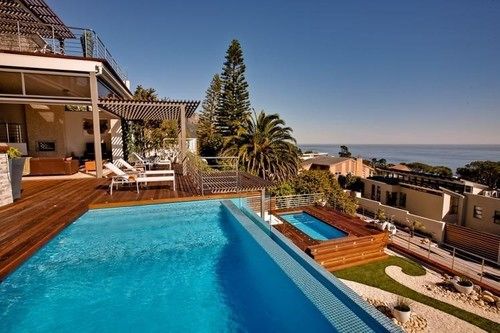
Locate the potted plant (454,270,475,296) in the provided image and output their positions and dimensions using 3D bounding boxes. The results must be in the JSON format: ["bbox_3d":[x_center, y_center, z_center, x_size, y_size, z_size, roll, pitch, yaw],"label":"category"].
[{"bbox_3d":[10.814,6.082,13.694,0.763,0.673,0.849,-2,-4,6],"label":"potted plant"}]

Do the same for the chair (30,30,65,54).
[{"bbox_3d":[-11.638,-7.211,15.261,0.784,0.871,1.441,39,40,24],"label":"chair"}]

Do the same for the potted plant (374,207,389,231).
[{"bbox_3d":[8.451,3.364,17.205,0.757,1.225,0.707,-2,2,15],"label":"potted plant"}]

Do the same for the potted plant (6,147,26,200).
[{"bbox_3d":[-9.463,0.272,10.782,0.489,2.097,1.046,-3,6,-42],"label":"potted plant"}]

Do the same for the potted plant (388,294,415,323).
[{"bbox_3d":[6.802,6.349,11.944,0.894,0.993,0.888,-1,-2,-20],"label":"potted plant"}]

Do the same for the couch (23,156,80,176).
[{"bbox_3d":[-11.081,-0.039,14.967,2.074,0.998,0.777,0,4,-11],"label":"couch"}]
